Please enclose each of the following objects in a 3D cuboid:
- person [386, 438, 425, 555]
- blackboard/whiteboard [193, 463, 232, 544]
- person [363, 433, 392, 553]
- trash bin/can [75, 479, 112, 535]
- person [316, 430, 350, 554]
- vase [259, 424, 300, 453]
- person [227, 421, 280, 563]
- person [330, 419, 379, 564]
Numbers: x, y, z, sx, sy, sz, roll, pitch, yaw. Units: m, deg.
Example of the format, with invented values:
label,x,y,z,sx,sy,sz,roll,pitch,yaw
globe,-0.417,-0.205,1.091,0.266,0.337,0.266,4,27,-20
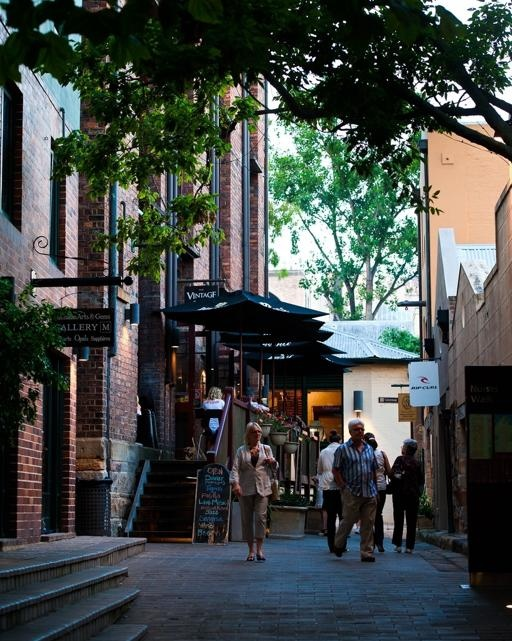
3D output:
label,x,y,z,sx,sy,sz,roll,pitch,yaw
person,2.421,2.737,13.481,0.518,1.720,0.626,6,-5,-43
blackboard/whiteboard,-0.708,2.996,14.030,0.605,1.256,0.357,0,-7,1
person,2.014,2.749,13.847,0.552,1.956,0.658,3,-4,15
trash bin/can,-2.696,3.100,14.247,0.544,0.899,0.264,3,-8,-23
person,1.094,2.583,13.038,0.429,1.743,0.636,1,-2,17
vase,0.529,2.390,17.220,0.406,0.451,1.079,0,-8,26
person,-0.027,2.212,11.201,0.577,1.746,0.725,0,-8,0
person,1.261,2.172,11.007,0.495,1.772,0.446,-3,-9,20
